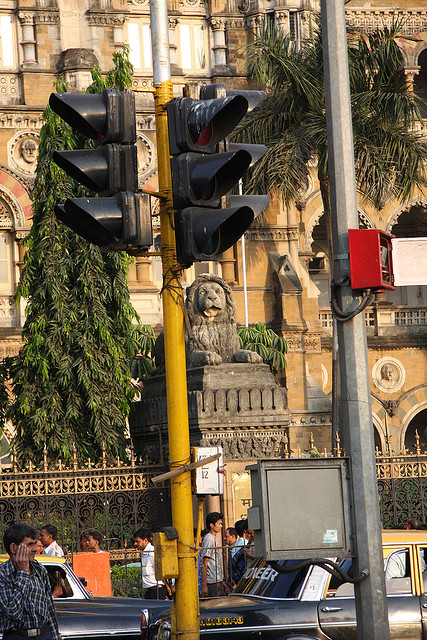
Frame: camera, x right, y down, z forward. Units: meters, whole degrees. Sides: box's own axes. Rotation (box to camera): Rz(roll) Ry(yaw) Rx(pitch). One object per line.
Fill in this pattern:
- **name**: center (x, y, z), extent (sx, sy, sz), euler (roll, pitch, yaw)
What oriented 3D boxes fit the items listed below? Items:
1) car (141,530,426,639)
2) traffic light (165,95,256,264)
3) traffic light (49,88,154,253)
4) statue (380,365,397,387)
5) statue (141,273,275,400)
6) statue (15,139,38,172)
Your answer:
- **car**: center (0.719, 1.982, 10.681), extent (1.627, 0.813, 1.019), euler (-2, -4, -7)
- **traffic light**: center (-0.013, -0.840, 8.542), extent (0.490, 0.887, 0.554), euler (-5, -1, 2)
- **traffic light**: center (-0.648, -0.874, 8.731), extent (0.584, 0.986, 0.336), euler (-3, -5, -24)
- **statue**: center (3.831, 1.198, 32.713), extent (0.404, 0.442, 0.216), euler (-4, -5, -31)
- **statue**: center (0.064, 0.113, 16.524), extent (0.920, 1.266, 1.115), euler (-5, -1, -14)
- **statue**: center (-3.805, -3.351, 30.280), extent (0.476, 0.555, 0.250), euler (-5, -1, -9)
